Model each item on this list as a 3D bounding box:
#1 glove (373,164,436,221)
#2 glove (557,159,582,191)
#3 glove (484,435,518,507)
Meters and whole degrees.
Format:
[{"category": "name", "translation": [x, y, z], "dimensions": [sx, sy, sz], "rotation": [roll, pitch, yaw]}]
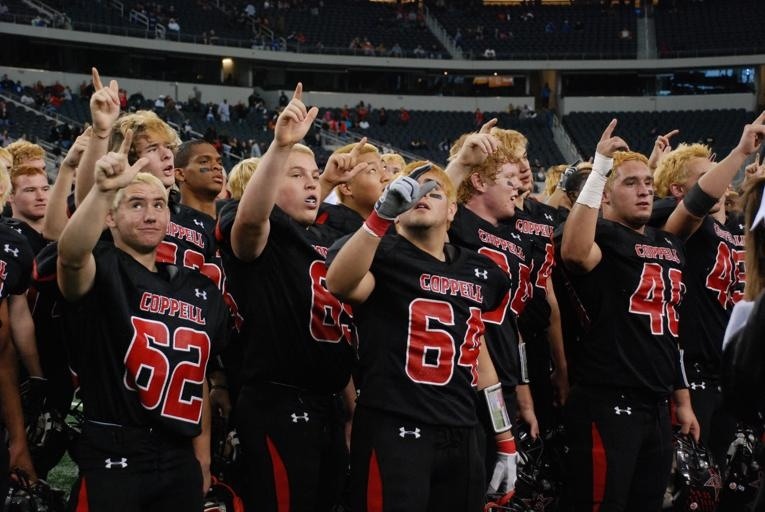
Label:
[{"category": "glove", "translation": [0.197, -0.478, 6.502], "dimensions": [0.309, 0.411, 0.493], "rotation": [9, 10, 36]}, {"category": "glove", "translation": [2.051, -0.919, 9.820], "dimensions": [0.290, 0.329, 0.397], "rotation": [0, 9, 18]}, {"category": "glove", "translation": [0.954, 1.734, 7.105], "dimensions": [0.314, 0.551, 0.190], "rotation": [7, 6, -4]}]
